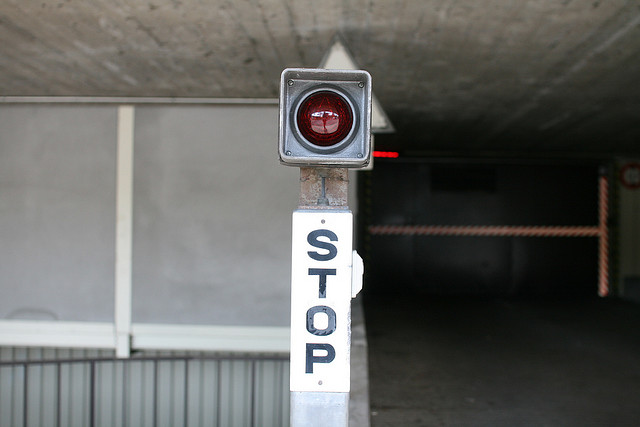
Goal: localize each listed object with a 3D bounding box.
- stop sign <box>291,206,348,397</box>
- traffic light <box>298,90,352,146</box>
[{"bbox_3d":[0.050,0.759,6.314,0.544,0.192,1.598,-2,84,28],"label":"stop sign"},{"bbox_3d":[0.042,-0.760,6.215,0.406,0.203,0.380,0,62,-6],"label":"traffic light"}]
